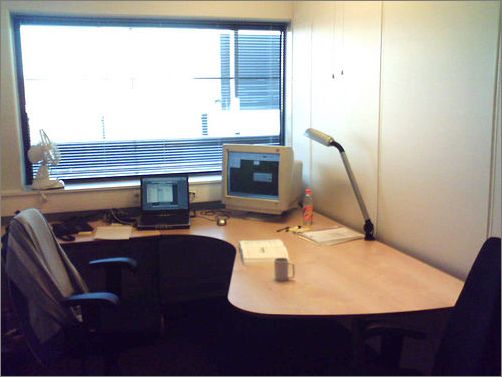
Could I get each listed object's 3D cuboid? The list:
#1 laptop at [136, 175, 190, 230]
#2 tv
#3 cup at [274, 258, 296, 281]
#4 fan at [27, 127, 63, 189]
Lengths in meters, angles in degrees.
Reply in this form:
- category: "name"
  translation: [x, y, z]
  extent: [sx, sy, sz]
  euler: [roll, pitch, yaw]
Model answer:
- category: "laptop"
  translation: [-0.685, 0.123, 3.537]
  extent: [0.472, 0.468, 0.394]
  euler: [-1, -28, -3]
- category: "tv"
  translation: [0.114, -0.061, 3.682]
  extent: [0.713, 0.706, 0.536]
  euler: [2, 5, 23]
- category: "cup"
  translation: [0.181, 0.474, 2.483]
  extent: [0.139, 0.134, 0.090]
  euler: [-2, 7, -5]
- category: "fan"
  translation: [-1.693, -0.247, 3.504]
  extent: [0.275, 0.513, 0.306]
  euler: [-8, -5, 9]
